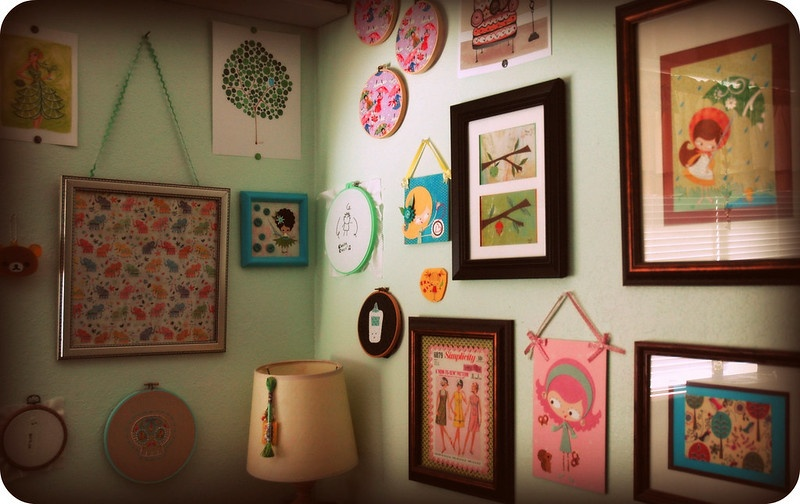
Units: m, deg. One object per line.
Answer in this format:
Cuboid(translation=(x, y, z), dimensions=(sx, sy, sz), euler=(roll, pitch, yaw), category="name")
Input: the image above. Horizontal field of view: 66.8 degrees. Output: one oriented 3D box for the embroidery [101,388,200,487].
Cuboid(translation=(-1.071, 0.778, 2.542), dimensions=(0.460, 0.523, 0.056), euler=(0, -4, -26), category="embroidery")
